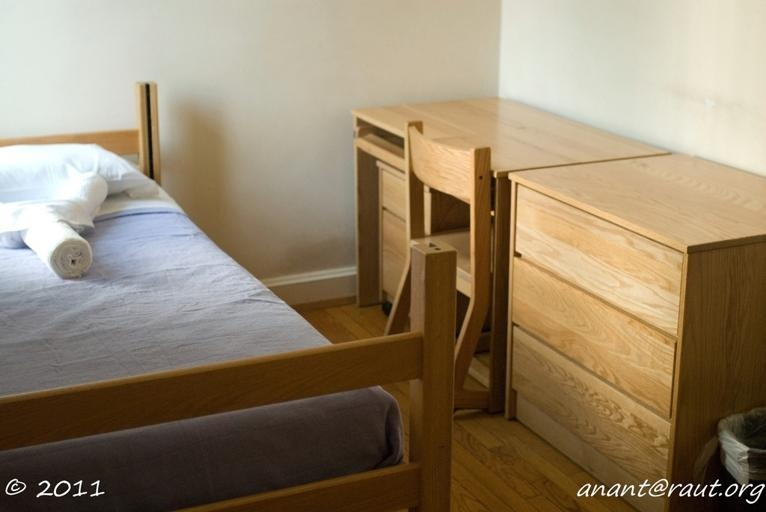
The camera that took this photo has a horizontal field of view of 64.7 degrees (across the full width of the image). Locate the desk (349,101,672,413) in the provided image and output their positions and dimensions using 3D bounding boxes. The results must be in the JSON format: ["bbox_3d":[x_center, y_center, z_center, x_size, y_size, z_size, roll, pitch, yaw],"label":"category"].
[{"bbox_3d":[0.571,0.105,3.164,1.261,1.536,1.685,-12,26,-23],"label":"desk"}]

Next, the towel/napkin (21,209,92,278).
[{"bbox_3d":[-1.078,-0.035,1.975,0.116,0.121,0.259,30,-1,-38],"label":"towel/napkin"}]
